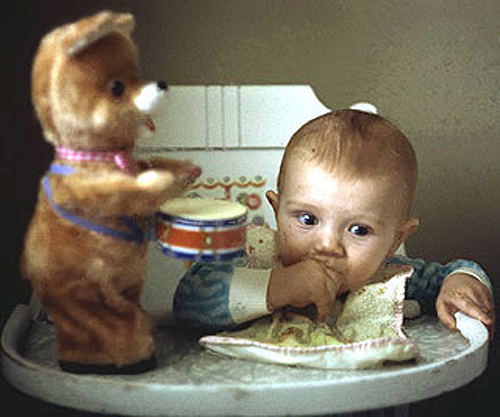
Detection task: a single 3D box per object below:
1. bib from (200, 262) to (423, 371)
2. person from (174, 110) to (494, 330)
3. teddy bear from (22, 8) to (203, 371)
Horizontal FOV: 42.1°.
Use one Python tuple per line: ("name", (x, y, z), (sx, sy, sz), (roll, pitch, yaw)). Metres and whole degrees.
("bib", (0.129, 0.266, 1.347), (0.312, 0.092, 0.233), (-20, 21, 17))
("person", (0.216, 0.086, 1.544), (0.794, 0.521, 0.481), (4, 13, 9))
("teddy bear", (-0.286, -0.041, 1.285), (0.294, 0.641, 0.357), (10, 26, 14))
